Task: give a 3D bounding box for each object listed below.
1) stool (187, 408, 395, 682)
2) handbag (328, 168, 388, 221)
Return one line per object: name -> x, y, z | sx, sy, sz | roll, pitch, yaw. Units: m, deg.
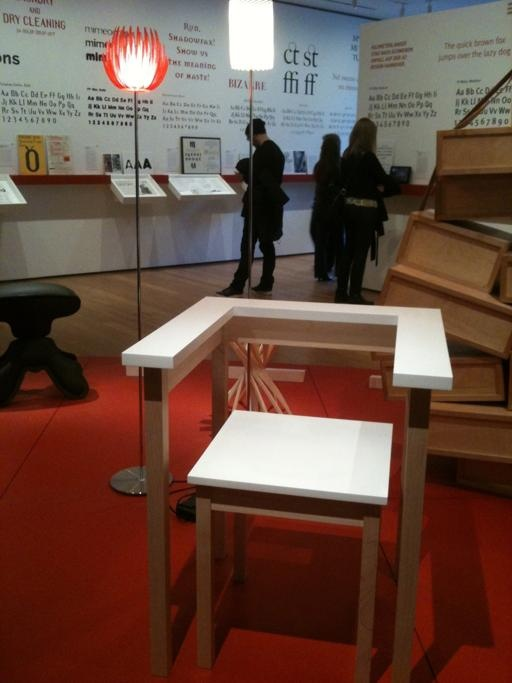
stool -> 0.083, 0.489, 1.178 | 0.424, 0.543, 0.480 | 4, 10, 16
handbag -> 0.724, -0.944, 3.583 | 0.253, 0.625, 0.394 | 5, 12, 33
